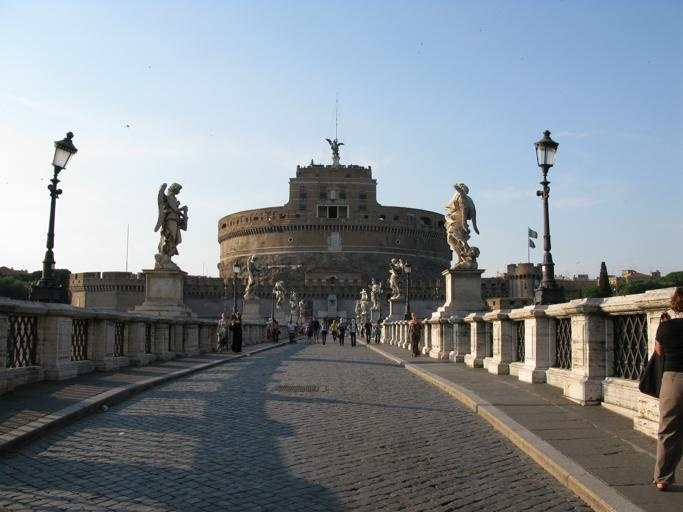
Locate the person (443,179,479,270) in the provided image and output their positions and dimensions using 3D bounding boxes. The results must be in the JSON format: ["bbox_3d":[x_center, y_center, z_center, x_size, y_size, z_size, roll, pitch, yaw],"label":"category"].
[{"bbox_3d":[3.799,-1.007,25.335,0.959,2.622,1.310,0,0,5],"label":"person"}]

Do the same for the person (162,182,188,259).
[{"bbox_3d":[-5.369,-1.130,25.511,0.838,2.325,0.663,0,0,-22],"label":"person"}]

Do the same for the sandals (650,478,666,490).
[{"bbox_3d":[3.195,2.292,8.071,0.118,0.071,0.162,0,-2,41],"label":"sandals"}]

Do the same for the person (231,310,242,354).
[{"bbox_3d":[-3.705,2.697,28.197,0.358,1.299,1.475,0,0,-8],"label":"person"}]
